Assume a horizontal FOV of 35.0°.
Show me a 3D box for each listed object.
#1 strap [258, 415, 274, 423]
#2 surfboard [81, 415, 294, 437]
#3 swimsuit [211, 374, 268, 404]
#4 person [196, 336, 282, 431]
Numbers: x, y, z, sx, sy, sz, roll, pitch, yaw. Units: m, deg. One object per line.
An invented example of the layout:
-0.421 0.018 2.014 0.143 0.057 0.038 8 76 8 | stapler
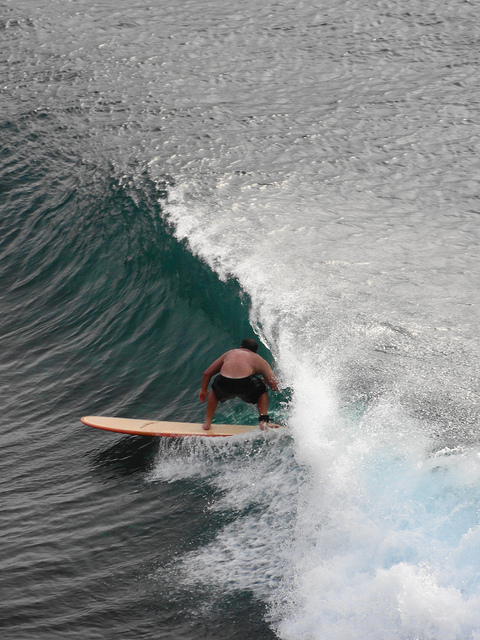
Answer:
0.312 1.269 9.834 0.122 0.077 0.102 7 19 8 | strap
-0.655 1.434 10.200 3.061 0.116 0.390 1 9 12 | surfboard
-0.009 0.871 9.657 0.834 0.370 0.363 4 29 4 | swimsuit
0.015 0.914 10.293 1.315 1.293 0.943 7 -10 21 | person
